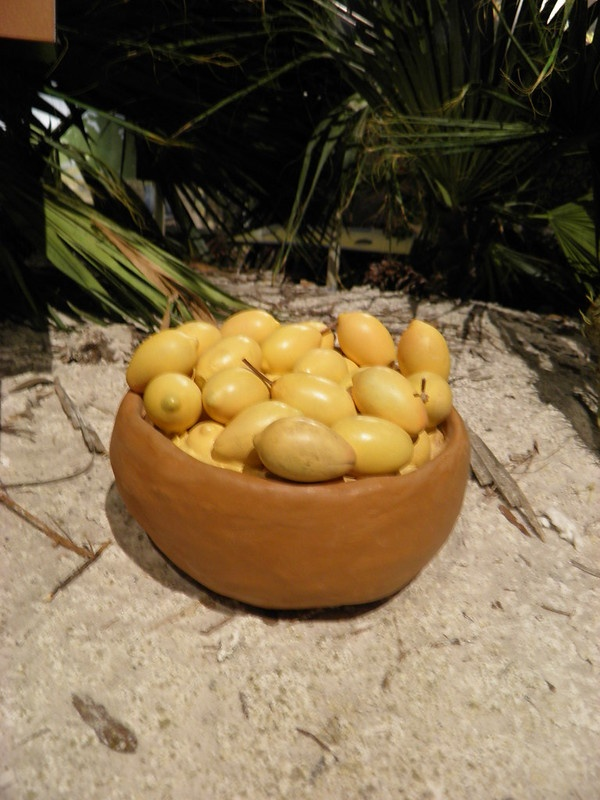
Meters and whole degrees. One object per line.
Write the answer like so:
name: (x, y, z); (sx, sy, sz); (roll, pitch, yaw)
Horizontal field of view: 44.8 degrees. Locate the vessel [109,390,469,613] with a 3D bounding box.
vessel: (-0.019, 0.146, 1.074); (0.404, 0.151, 0.354); (-1, 25, -6)
